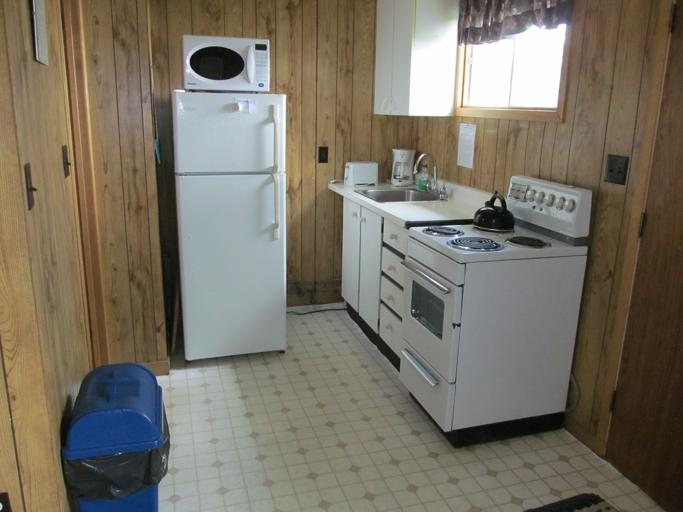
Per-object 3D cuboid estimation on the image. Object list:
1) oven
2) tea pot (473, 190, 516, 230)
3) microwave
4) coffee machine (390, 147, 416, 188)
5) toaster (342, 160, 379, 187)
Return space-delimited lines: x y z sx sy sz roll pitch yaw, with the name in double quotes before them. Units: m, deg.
"oven" 0.815 0.453 3.102 0.813 1.061 0.691 -2 13 -14
"tea pot" 0.911 -0.263 3.076 0.237 0.237 0.234 1 8 0
"microwave" -0.756 -1.214 3.483 0.550 0.350 0.343 -2 -9 -5
"coffee machine" 0.506 -0.746 4.359 0.221 0.284 0.179 4 8 7
"toaster" 0.160 -0.676 4.212 0.205 0.164 0.210 -1 15 -5
